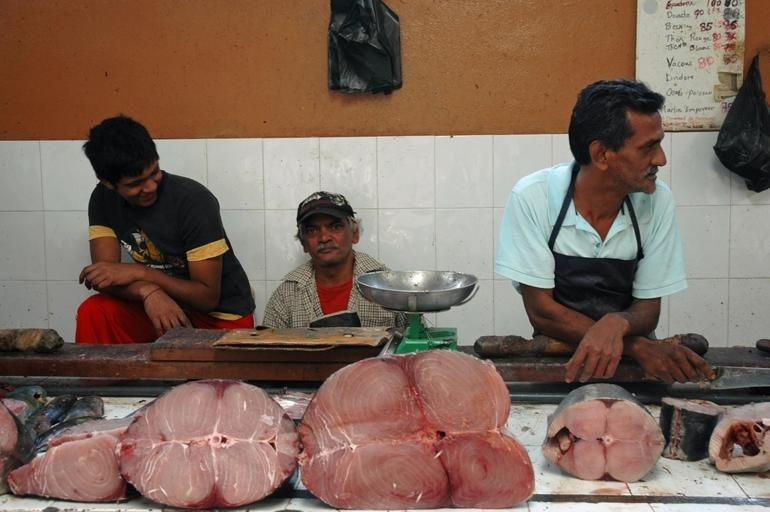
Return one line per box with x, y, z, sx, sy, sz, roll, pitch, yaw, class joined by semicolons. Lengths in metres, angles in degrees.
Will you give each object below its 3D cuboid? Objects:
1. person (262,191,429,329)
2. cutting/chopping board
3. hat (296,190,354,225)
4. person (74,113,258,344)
-0.328;0.150;5.609;1.136;1.196;0.665;-2;3;2;person
-0.617;0.506;4.517;0.817;0.105;0.495;0;1;2;cutting/chopping board
-0.403;-0.322;5.492;0.377;0.205;0.230;-4;11;-3;hat
-1.526;-0.155;5.387;1.145;1.538;0.737;-6;11;-12;person
